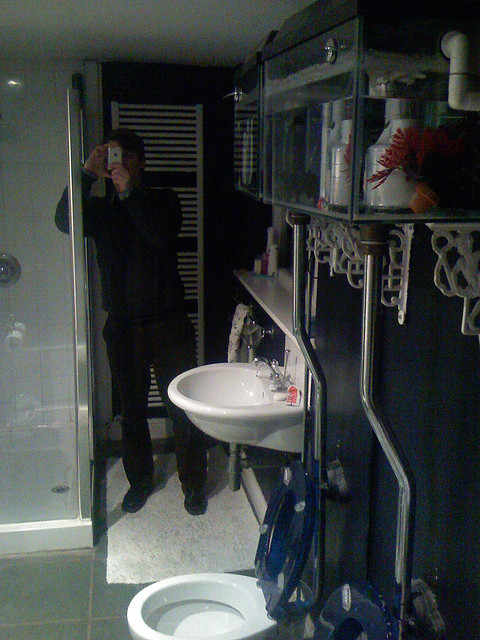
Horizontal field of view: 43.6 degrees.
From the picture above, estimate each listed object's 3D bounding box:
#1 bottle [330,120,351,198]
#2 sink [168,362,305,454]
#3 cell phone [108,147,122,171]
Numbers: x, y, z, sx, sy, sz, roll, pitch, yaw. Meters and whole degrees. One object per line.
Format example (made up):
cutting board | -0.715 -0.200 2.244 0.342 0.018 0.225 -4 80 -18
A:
bottle | 0.128 -0.199 0.741 0.026 0.102 0.033 -1 12 0
sink | -0.029 0.366 2.165 0.462 0.305 0.604 0 12 1
cell phone | -0.612 -0.798 2.922 0.022 0.083 0.094 8 13 41
